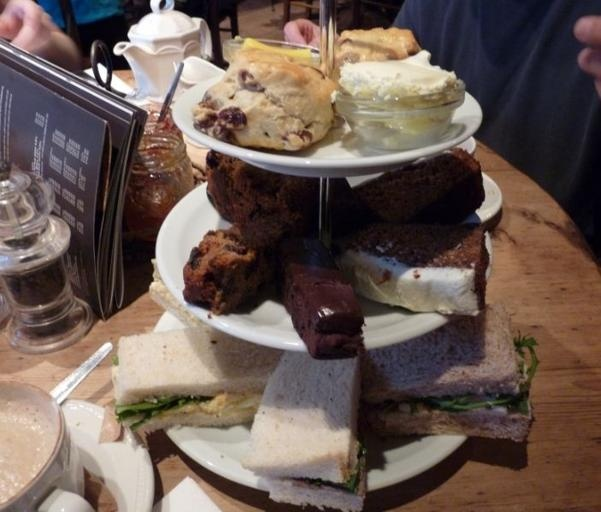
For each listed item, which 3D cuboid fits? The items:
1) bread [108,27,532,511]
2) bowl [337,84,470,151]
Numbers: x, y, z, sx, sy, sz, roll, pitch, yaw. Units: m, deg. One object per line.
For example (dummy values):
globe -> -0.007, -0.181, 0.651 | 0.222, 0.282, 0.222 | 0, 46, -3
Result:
bread -> 0.060, 0.080, 0.861 | 0.657, 0.373, 0.473 | 2, 45, 6
bowl -> 0.120, -0.159, 0.663 | 0.094, 0.043, 0.098 | -3, 34, 2
